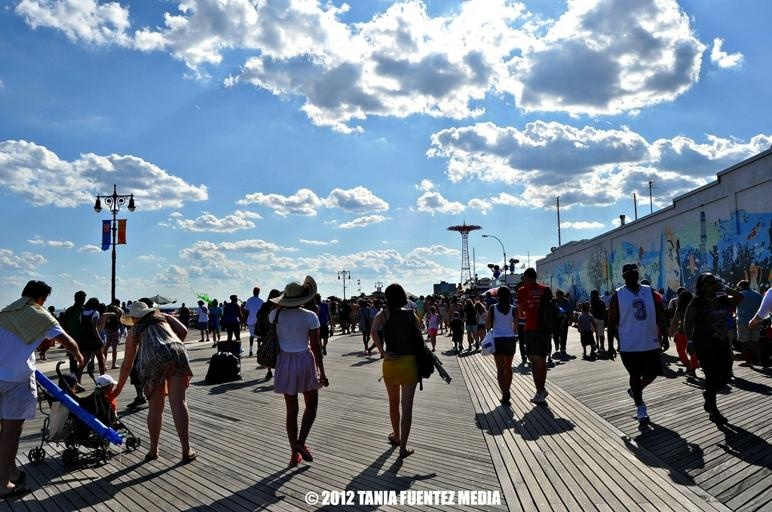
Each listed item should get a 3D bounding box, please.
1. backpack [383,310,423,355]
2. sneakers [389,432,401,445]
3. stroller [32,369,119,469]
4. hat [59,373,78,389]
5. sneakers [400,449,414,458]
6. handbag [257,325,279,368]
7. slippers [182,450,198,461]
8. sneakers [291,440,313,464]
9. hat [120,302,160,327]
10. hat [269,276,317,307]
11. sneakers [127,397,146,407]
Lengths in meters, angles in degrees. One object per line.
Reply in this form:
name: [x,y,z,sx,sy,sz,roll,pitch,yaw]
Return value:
backpack: [0.313,1.041,7.058,0.429,0.543,0.315,6,1,30]
sneakers: [0.108,2.777,7.429,0.096,0.177,0.171,-18,20,-33]
stroller: [-4.338,2.222,6.882,0.771,1.123,1.277,-10,-19,25]
hat: [-4.425,1.708,6.792,0.184,0.228,0.229,6,7,-10]
sneakers: [0.281,2.778,6.952,0.174,0.077,0.161,10,-51,-21]
handbag: [-1.673,1.232,6.777,0.236,0.610,0.392,-1,-2,-29]
slippers: [-2.735,2.765,6.792,0.210,0.103,0.129,0,-3,-43]
sneakers: [-1.181,2.662,6.644,0.186,0.178,0.431,-16,-40,10]
hat: [-3.490,0.799,6.873,0.432,0.340,0.625,-1,-2,-30]
hat: [-1.305,0.489,6.610,0.490,0.419,0.779,-2,-2,7]
sneakers: [-5.047,2.876,9.656,0.460,0.180,0.191,0,-3,-10]
